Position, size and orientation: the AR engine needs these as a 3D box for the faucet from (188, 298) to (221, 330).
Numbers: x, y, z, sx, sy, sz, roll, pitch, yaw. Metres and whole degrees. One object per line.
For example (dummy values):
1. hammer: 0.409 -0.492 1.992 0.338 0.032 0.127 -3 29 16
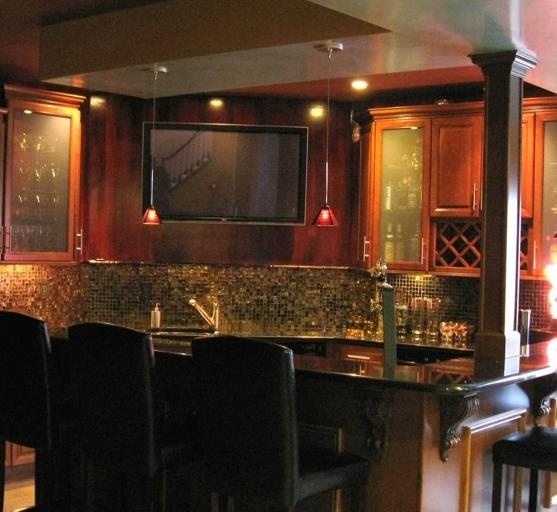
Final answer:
1. faucet: -0.559 0.426 4.726 0.212 0.229 0.625 1 -4 -9

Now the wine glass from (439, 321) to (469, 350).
1. wine glass: 1.249 0.543 4.494 0.165 0.132 0.156 0 -4 12

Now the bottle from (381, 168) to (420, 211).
1. bottle: 0.827 -0.466 4.524 0.261 0.264 0.063 3 3 32

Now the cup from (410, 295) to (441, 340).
1. cup: 1.072 0.451 4.708 0.226 0.293 0.313 0 -4 19
